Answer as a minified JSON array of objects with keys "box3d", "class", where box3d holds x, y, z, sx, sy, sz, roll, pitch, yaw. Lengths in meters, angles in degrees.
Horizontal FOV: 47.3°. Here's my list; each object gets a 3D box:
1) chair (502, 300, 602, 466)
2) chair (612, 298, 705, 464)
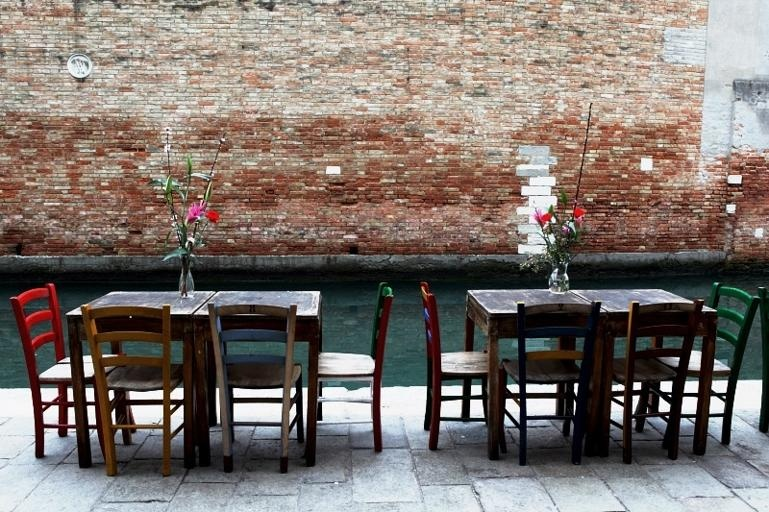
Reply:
[{"box3d":[1.862,1.289,9.840,1.088,1.758,1.288,0,16,12],"class":"chair"},{"box3d":[3.051,1.264,9.863,0.965,1.731,1.365,1,16,16],"class":"chair"}]
